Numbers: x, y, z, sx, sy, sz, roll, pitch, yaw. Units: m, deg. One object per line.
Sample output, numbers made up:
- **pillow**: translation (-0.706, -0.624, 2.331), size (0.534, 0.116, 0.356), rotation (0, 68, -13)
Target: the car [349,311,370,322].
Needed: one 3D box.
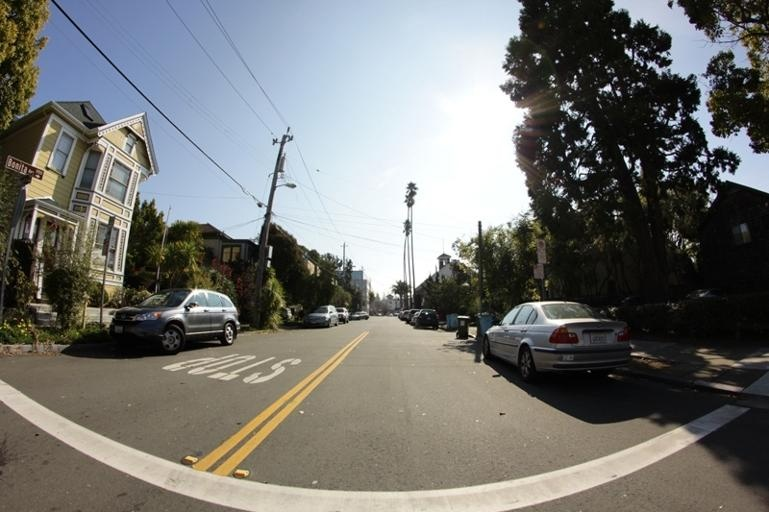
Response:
- **car**: translation (-3.702, 8.988, 71.733), size (2.982, 1.070, 1.898), rotation (10, -16, -36)

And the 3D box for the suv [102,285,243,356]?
- **suv**: translation (-7.057, 2.215, 15.913), size (2.016, 1.812, 3.681), rotation (-7, -17, 25)

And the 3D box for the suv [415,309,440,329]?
- **suv**: translation (3.609, 5.303, 38.592), size (1.193, 1.250, 2.862), rotation (1, -3, 3)

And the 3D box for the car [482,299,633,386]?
- **car**: translation (4.410, 2.309, 12.434), size (1.868, 2.060, 3.627), rotation (-5, 9, -29)

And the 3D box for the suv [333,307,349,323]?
- **suv**: translation (-4.503, 6.128, 47.712), size (0.786, 0.962, 2.664), rotation (-2, -18, 1)

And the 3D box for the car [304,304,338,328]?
- **car**: translation (-4.695, 4.572, 34.923), size (1.172, 1.069, 2.916), rotation (-3, -16, 7)

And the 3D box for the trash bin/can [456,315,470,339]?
- **trash bin/can**: translation (4.208, 3.730, 24.479), size (0.594, 1.309, 0.932), rotation (1, 8, 10)
